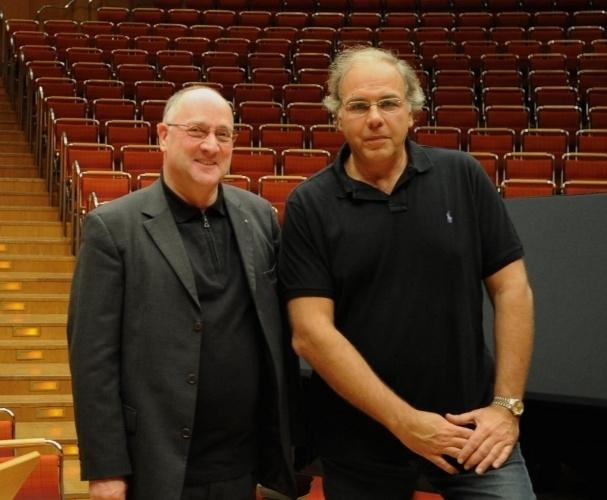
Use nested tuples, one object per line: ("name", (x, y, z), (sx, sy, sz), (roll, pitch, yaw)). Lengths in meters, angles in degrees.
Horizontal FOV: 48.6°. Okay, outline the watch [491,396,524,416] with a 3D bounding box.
("watch", (0.635, 0.486, 2.103), (0.071, 0.038, 0.063), (11, -10, 34))
